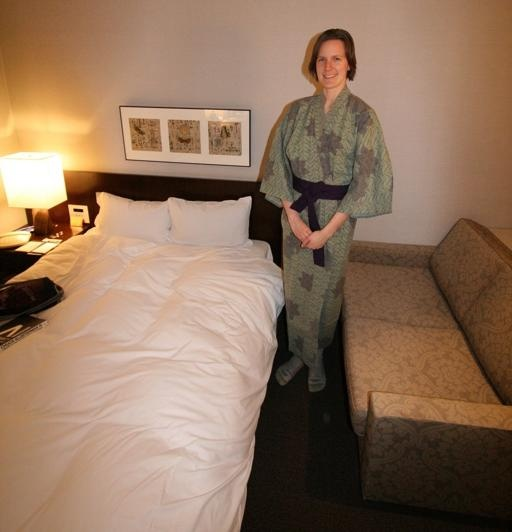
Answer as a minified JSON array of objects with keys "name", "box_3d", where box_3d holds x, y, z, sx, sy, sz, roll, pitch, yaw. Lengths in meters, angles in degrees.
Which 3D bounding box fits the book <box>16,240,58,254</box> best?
[{"name":"book","box_3d":[-1.405,-0.127,2.909,0.154,0.016,0.141,0,24,3]}]

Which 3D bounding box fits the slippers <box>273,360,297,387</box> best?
[{"name":"slippers","box_3d":[0.163,0.586,2.461,0.077,0.034,0.151,38,69,25]}]
